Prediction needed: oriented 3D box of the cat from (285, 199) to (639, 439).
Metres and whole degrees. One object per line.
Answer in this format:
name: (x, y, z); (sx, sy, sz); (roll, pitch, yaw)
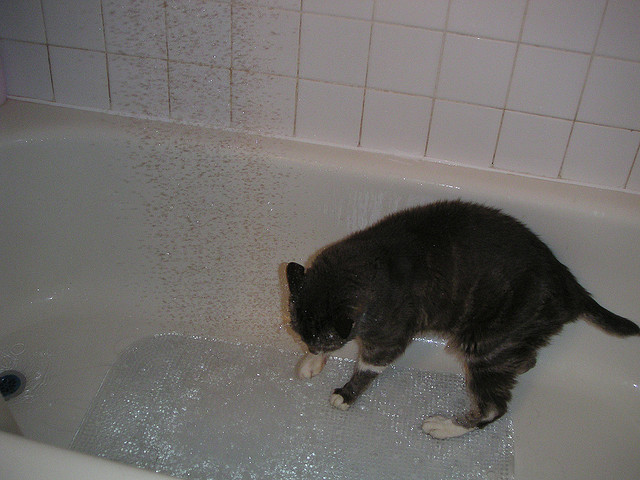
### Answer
cat: (0.477, 0.125, 1.900); (1.318, 0.742, 0.498); (-8, 34, 4)
